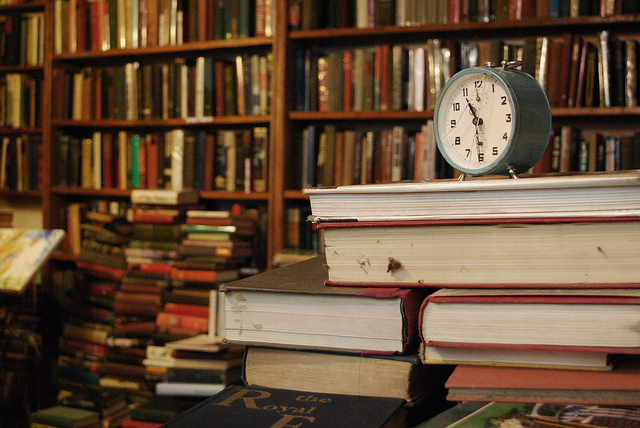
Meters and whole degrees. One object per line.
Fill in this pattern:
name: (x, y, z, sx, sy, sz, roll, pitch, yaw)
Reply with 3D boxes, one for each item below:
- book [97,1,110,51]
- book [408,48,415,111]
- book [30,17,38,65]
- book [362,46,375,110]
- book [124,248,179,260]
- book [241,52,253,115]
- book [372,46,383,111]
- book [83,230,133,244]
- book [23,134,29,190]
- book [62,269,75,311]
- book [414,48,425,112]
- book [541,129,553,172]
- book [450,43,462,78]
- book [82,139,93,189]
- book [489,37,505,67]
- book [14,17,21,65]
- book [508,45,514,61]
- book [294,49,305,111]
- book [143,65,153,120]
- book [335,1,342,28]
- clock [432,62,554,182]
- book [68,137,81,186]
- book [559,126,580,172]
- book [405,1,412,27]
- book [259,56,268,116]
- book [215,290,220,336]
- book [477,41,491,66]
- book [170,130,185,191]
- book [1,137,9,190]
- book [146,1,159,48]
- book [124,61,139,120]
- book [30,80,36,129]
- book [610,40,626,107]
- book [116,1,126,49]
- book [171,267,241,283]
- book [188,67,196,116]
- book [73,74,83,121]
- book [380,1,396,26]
book: (-1.080, -0.944, 3.954, 0.053, 0.193, 0.204, 1, 14, -11)
book: (0.403, -0.593, 3.495, 0.022, 0.265, 0.073, -1, -7, -11)
book: (-1.491, -0.905, 4.132, 0.036, 0.233, 0.076, 1, -7, -21)
book: (0.216, -0.600, 3.552, 0.050, 0.255, 0.072, -1, -7, -9)
book: (-0.773, 0.181, 3.643, 0.273, 0.063, 0.017, -4, -7, 16)
book: (-0.341, -0.608, 3.700, 0.048, 0.278, 0.082, -1, -7, -6)
book: (0.256, -0.604, 3.530, 0.039, 0.276, 0.087, -1, -7, -9)
book: (-1.033, 0.107, 3.814, 0.238, 0.071, 0.077, -4, -7, 18)
book: (-1.543, -0.276, 4.158, 0.030, 0.288, 0.073, 1, -8, -20)
book: (-1.301, 0.390, 4.089, 0.058, 0.038, 0.176, 8, -50, -6)
book: (0.436, -0.594, 3.482, 0.054, 0.266, 0.069, -2, -7, 3)
book: (0.965, -0.273, 3.375, 0.058, 0.180, 0.041, -4, -7, 14)
book: (0.585, -0.675, 3.433, 0.057, 0.139, 0.039, -5, -7, 20)
book: (-1.185, -0.259, 4.034, 0.051, 0.192, 0.199, 1, 7, -10)
book: (0.776, -0.718, 3.481, 0.063, 0.147, 0.164, -2, 16, 9)
book: (-1.587, -0.910, 4.149, 0.027, 0.232, 0.081, 1, -7, -21)
book: (0.819, -0.696, 3.403, 0.027, 0.068, 0.016, -3, -7, 7)
book: (-0.095, -0.615, 3.659, 0.046, 0.274, 0.066, -1, -7, -11)
book: (-0.839, -0.596, 3.866, 0.055, 0.198, 0.214, 2, 4, -7)
book: (0.082, -0.903, 3.572, 0.027, 0.115, 0.040, -1, -7, -11)
clock: (0.464, -0.253, 2.157, 0.310, 0.297, 0.119, -3, -7, 11)
book: (-1.260, -0.270, 4.064, 0.060, 0.245, 0.058, 0, -7, -18)
book: (1.050, -0.277, 3.357, 0.084, 0.208, 0.149, -5, -7, 23)
book: (0.388, -0.883, 3.489, 0.036, 0.117, 0.020, -4, -7, 12)
book: (-0.262, -0.599, 3.670, 0.039, 0.264, 0.069, -1, -7, -5)
book: (-0.451, 0.436, 3.476, 0.022, 0.185, 0.038, -1, -7, -7)
book: (0.709, -0.699, 3.442, 0.053, 0.122, 0.083, -3, -7, 8)
book: (-0.689, -0.262, 3.816, 0.093, 0.284, 0.052, -3, -7, 9)
book: (-1.663, -0.270, 4.182, 0.028, 0.270, 0.085, 2, -8, -28)
book: (-0.814, -0.919, 3.830, 0.081, 0.210, 0.053, -3, -7, 11)
book: (-0.931, -0.609, 3.909, 0.060, 0.218, 0.227, 0, 3, -14)
book: (-1.502, -0.583, 4.146, 0.029, 0.241, 0.060, 0, -7, -19)
book: (1.232, -0.579, 3.276, 0.053, 0.208, 0.219, 0, 26, 12)
book: (-0.981, -0.933, 3.903, 0.044, 0.231, 0.071, 0, -7, -15)
book: (-0.524, 0.271, 3.519, 0.162, 0.034, 0.156, -1, 3, 16)
book: (-0.614, -0.589, 3.792, 0.038, 0.228, 0.055, -1, -7, -10)
book: (-1.243, -0.604, 4.062, 0.051, 0.186, 0.200, 1, 6, -10)
book: (0.294, -0.893, 3.515, 0.103, 0.091, 0.023, 3, 5, 14)
